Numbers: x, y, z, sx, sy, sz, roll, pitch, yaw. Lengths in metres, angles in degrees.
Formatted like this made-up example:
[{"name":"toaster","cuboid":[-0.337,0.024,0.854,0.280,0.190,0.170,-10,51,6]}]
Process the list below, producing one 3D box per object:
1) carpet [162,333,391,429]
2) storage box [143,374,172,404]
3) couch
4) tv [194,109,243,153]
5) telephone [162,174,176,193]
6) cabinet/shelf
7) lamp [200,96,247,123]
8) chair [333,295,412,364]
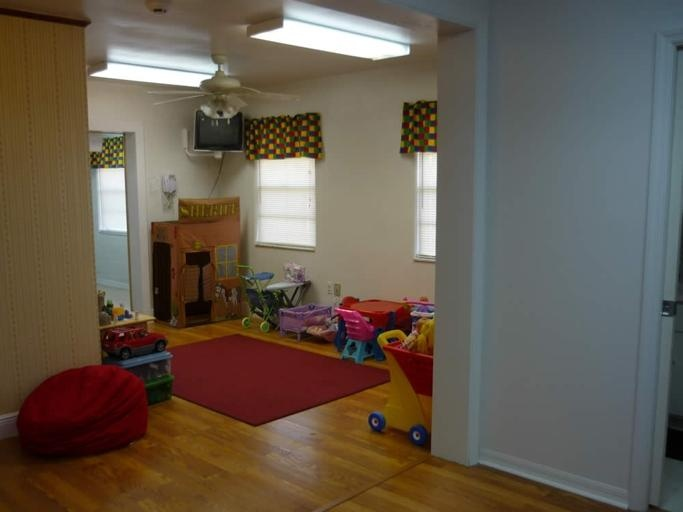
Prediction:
[{"name":"carpet","cuboid":[-0.727,1.262,5.744,1.580,0.019,2.480,19,6,29]},{"name":"storage box","cuboid":[-1.684,1.217,4.803,0.213,0.140,0.213,-2,-3,-44]},{"name":"couch","cuboid":[-2.049,1.190,4.171,0.859,0.418,0.913,2,11,1]},{"name":"tv","cuboid":[-1.833,-1.779,7.771,0.914,0.793,0.504,-2,10,-23]},{"name":"telephone","cuboid":[-2.543,-1.074,7.690,0.068,0.275,0.248,5,10,34]},{"name":"cabinet/shelf","cuboid":[-2.091,-0.004,7.656,0.908,1.856,1.076,13,16,39]},{"name":"lamp","cuboid":[-1.324,-1.585,5.592,0.434,0.245,0.442,0,1,33]},{"name":"chair","cuboid":[0.299,0.755,5.983,0.693,0.526,0.709,4,5,28]}]
